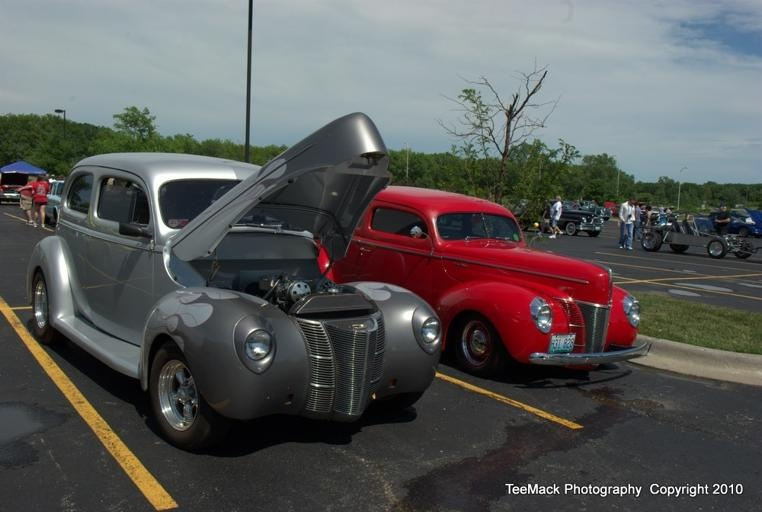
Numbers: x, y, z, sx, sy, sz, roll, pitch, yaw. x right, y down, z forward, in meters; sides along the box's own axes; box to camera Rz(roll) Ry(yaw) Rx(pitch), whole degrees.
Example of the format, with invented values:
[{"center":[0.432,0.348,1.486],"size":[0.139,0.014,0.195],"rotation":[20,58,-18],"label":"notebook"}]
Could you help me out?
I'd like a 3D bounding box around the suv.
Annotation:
[{"center":[-2.015,0.221,6.736],"size":[4.885,2.474,2.532],"rotation":[10,9,44],"label":"suv"}]
